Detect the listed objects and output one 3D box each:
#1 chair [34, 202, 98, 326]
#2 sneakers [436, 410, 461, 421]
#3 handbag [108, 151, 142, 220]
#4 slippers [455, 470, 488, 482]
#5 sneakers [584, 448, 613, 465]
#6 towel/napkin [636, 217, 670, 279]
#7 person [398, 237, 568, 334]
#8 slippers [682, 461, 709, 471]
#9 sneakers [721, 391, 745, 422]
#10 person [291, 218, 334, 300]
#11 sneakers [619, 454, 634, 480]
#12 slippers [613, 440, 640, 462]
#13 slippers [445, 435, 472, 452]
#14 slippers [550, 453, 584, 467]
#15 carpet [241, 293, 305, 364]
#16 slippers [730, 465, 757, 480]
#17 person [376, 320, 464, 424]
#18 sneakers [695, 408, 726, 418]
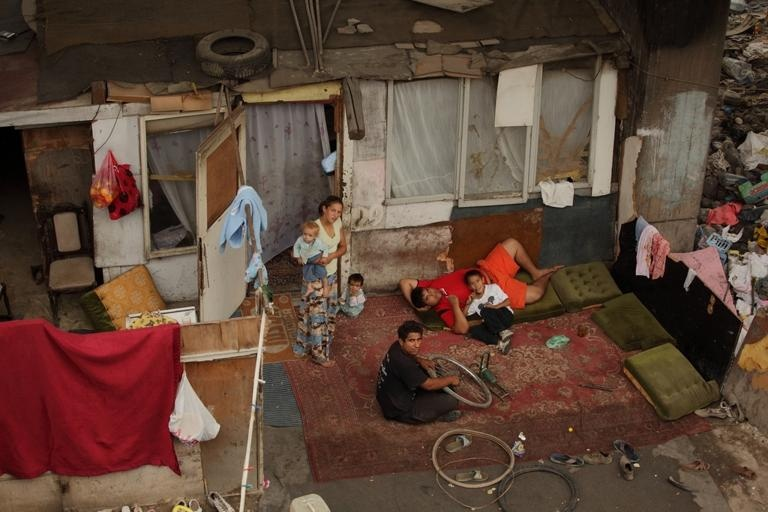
[{"bbox_3d":[-4.642,0.100,9.204,0.754,1.684,0.641,-11,17,-20],"label":"chair"},{"bbox_3d":[0.867,2.107,8.191,0.207,0.070,0.156,-13,-5,3],"label":"sneakers"},{"bbox_3d":[-3.748,-1.002,8.893,0.252,0.946,0.417,6,19,33],"label":"handbag"},{"bbox_3d":[1.060,2.637,7.487,0.339,0.079,0.133,-2,53,3],"label":"slippers"},{"bbox_3d":[2.678,2.521,7.801,0.249,0.085,0.160,2,35,0],"label":"sneakers"},{"bbox_3d":[4.179,-0.093,9.745,0.241,0.625,0.837,-3,37,-7],"label":"towel/napkin"},{"bbox_3d":[1.561,0.469,9.847,2.259,0.877,1.320,-20,41,-11],"label":"person"},{"bbox_3d":[3.851,2.600,7.709,0.244,0.126,0.070,0,44,-2],"label":"slippers"},{"bbox_3d":[4.636,1.999,8.335,0.204,0.289,0.387,-6,15,-4],"label":"sneakers"},{"bbox_3d":[-0.994,0.048,8.490,0.438,1.101,0.505,-6,16,-4],"label":"person"},{"bbox_3d":[2.979,2.592,7.634,0.147,0.092,0.230,-6,39,-2],"label":"sneakers"},{"bbox_3d":[3.055,2.442,7.849,0.156,0.101,0.287,-23,59,-30],"label":"slippers"},{"bbox_3d":[0.951,2.370,7.873,0.333,0.085,0.154,-20,56,-6],"label":"slippers"},{"bbox_3d":[2.276,2.534,7.750,0.260,0.082,0.169,9,23,11],"label":"slippers"},{"bbox_3d":[-1.678,1.145,9.435,0.727,0.021,1.668,-3,36,-11],"label":"carpet"},{"bbox_3d":[4.421,2.655,7.637,0.249,0.080,0.165,5,18,31],"label":"slippers"},{"bbox_3d":[0.480,1.604,8.324,0.823,1.031,0.783,-11,43,-11],"label":"person"},{"bbox_3d":[4.291,2.099,8.311,0.447,0.175,0.131,4,74,2],"label":"sneakers"}]
